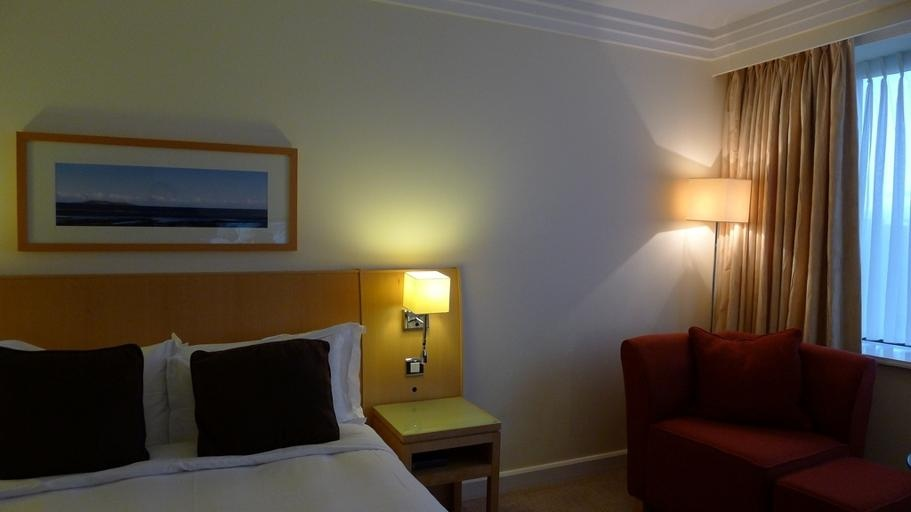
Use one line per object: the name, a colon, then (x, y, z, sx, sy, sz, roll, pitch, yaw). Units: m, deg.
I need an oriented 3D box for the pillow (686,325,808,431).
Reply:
pillow: (2.286, 0.989, 4.761, 0.759, 0.634, 0.301, 0, -15, 19)

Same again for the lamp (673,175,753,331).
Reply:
lamp: (2.390, -0.019, 5.644, 0.559, 1.415, 0.422, 2, 4, 43)
